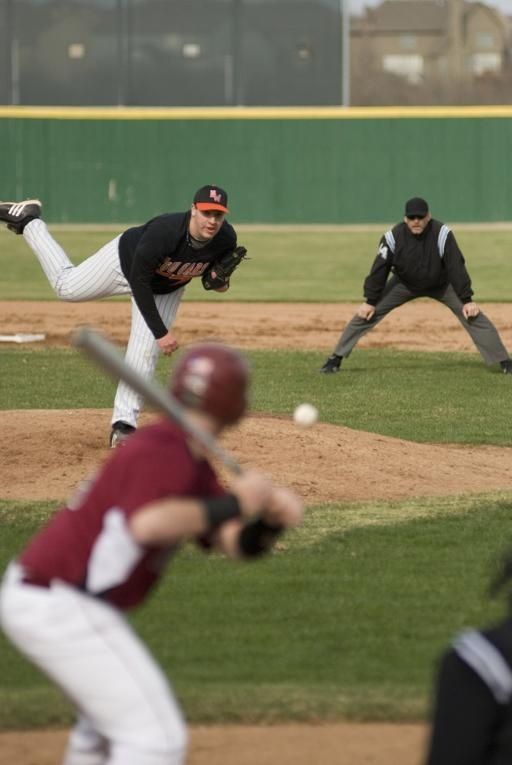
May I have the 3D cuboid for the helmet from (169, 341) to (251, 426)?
[{"bbox_3d":[-0.093,-0.005,2.591,0.202,0.184,0.147,13,25,30],"label":"helmet"}]

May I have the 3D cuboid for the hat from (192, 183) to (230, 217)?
[{"bbox_3d":[-0.239,-0.990,6.075,0.135,0.109,0.196,19,3,-18],"label":"hat"}]

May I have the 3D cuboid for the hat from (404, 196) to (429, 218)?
[{"bbox_3d":[1.203,-1.321,8.482,0.134,0.097,0.189,1,5,7],"label":"hat"}]

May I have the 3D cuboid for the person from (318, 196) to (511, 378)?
[{"bbox_3d":[1.283,-0.745,8.830,1.405,1.405,0.684,4,13,10],"label":"person"}]
